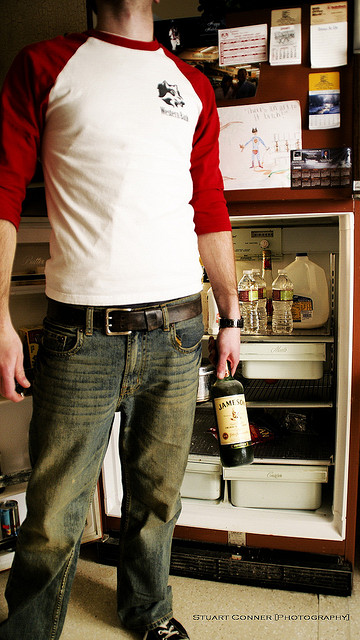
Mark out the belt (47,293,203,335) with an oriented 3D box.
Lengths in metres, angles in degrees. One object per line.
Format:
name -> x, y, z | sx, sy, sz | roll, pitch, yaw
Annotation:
belt -> -0.096, -0.009, 1.037 | 0.348, 0.067, 0.131 | -2, 3, -19

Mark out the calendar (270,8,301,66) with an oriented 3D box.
calendar -> 0.303, -0.805, 1.407 | 0.083, 0.147, 0.093 | 3, 14, 10

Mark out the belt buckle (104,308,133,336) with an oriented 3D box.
belt buckle -> -0.121, 0.001, 0.970 | 0.054, 0.054, 0.025 | -1, 2, -11
